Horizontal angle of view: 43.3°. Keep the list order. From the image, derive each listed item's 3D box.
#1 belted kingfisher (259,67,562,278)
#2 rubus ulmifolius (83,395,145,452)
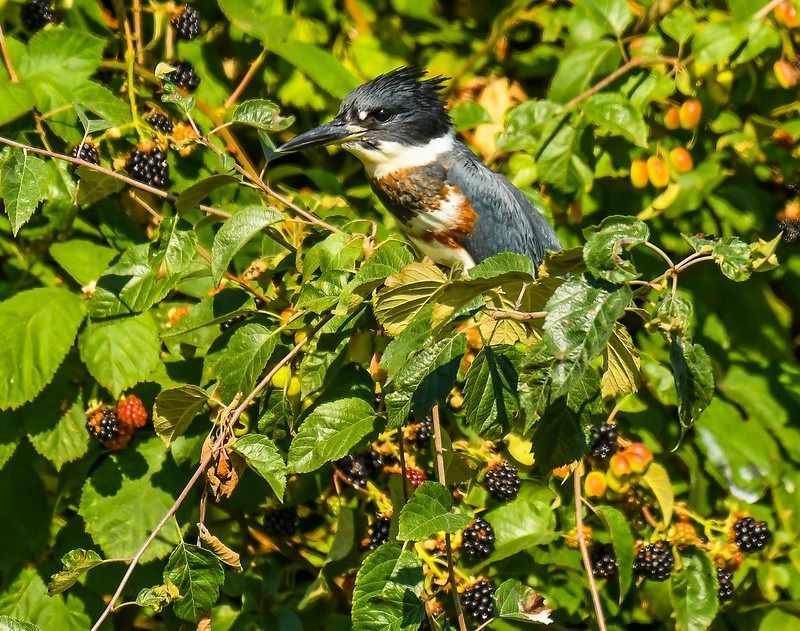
[{"bbox_3d":[0.109,-0.514,3.562,1.062,0.492,0.386,26,31,-22],"label":"belted kingfisher"},{"bbox_3d":[-0.858,0.318,3.105,0.149,0.137,0.232,1,15,20],"label":"rubus ulmifolius"}]
